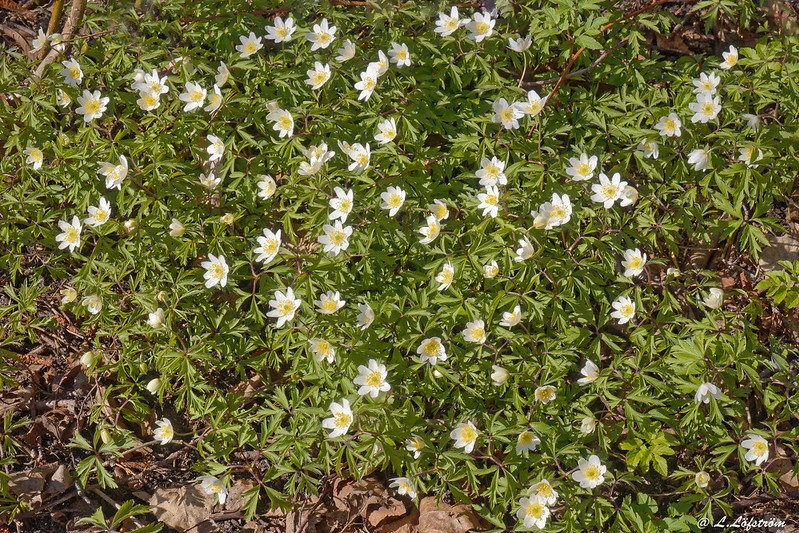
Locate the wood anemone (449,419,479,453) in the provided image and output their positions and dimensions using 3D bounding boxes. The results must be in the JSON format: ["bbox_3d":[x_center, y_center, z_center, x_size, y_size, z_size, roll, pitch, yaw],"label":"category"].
[{"bbox_3d":[0.653,1.598,6.962,0.271,0.141,0.275,-45,76,19],"label":"wood anemone"}]

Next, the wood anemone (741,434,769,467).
[{"bbox_3d":[3.445,1.775,7.041,0.270,0.184,0.283,10,82,3],"label":"wood anemone"}]

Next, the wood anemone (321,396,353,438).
[{"bbox_3d":[-0.588,1.447,6.944,0.339,0.164,0.351,38,103,29],"label":"wood anemone"}]

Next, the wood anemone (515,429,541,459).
[{"bbox_3d":[1.229,1.694,6.951,0.225,0.108,0.247,-9,121,-11],"label":"wood anemone"}]

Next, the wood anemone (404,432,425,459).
[{"bbox_3d":[0.147,1.717,6.958,0.115,0.209,0.213,-11,108,-9],"label":"wood anemone"}]

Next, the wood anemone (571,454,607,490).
[{"bbox_3d":[1.808,1.950,6.847,0.286,0.137,0.323,-7,86,13],"label":"wood anemone"}]

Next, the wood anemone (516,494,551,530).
[{"bbox_3d":[1.296,2.357,6.956,0.333,0.194,0.324,14,83,3],"label":"wood anemone"}]
